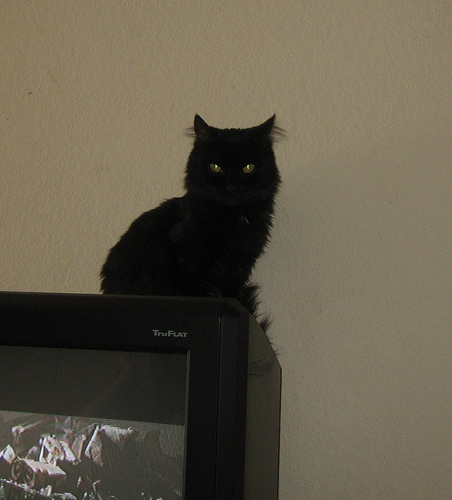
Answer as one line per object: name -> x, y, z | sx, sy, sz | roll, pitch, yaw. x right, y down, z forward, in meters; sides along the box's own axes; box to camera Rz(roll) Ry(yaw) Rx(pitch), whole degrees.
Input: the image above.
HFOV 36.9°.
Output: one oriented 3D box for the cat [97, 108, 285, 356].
cat -> -0.033, -0.055, 1.657 | 0.456, 0.613, 0.368 | 2, -9, 7
